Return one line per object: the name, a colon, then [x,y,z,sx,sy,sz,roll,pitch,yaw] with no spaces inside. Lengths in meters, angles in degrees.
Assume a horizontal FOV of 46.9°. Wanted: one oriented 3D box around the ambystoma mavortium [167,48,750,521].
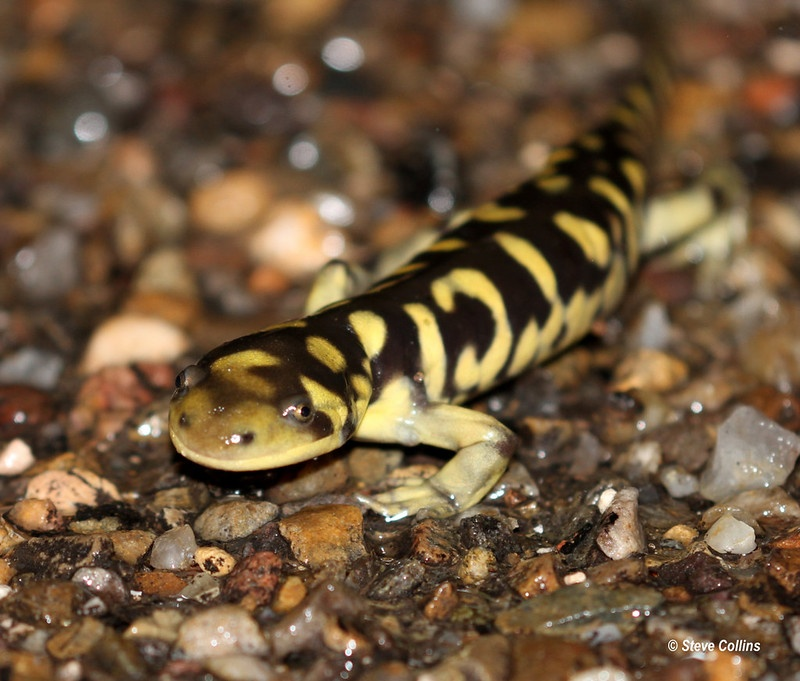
ambystoma mavortium: [0.537,-0.310,3.605,2.856,1.006,0.607,-38,-51,-12]
